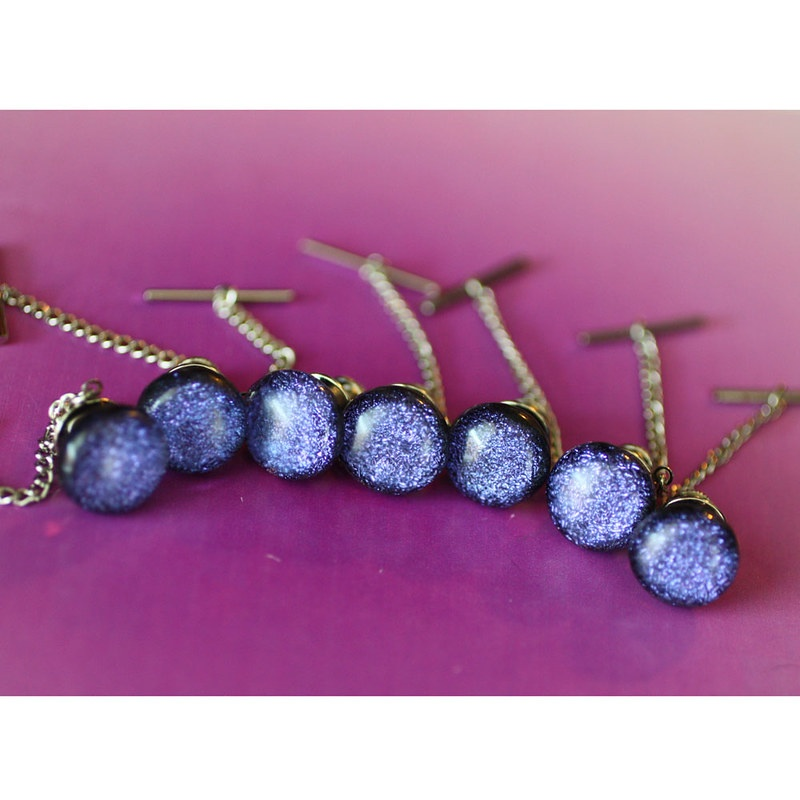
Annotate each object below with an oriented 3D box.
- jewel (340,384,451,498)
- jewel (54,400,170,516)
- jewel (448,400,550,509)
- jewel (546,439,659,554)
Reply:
[{"bbox_3d":[-0.001,0.044,0.906,0.104,0.051,0.111,3,60,-4],"label":"jewel"},{"bbox_3d":[-0.255,0.038,0.881,0.092,0.094,0.078,-19,24,-29],"label":"jewel"},{"bbox_3d":[0.095,0.043,0.929,0.089,0.093,0.082,-5,13,9],"label":"jewel"},{"bbox_3d":[0.191,0.080,0.897,0.090,0.094,0.085,-2,14,24],"label":"jewel"}]
